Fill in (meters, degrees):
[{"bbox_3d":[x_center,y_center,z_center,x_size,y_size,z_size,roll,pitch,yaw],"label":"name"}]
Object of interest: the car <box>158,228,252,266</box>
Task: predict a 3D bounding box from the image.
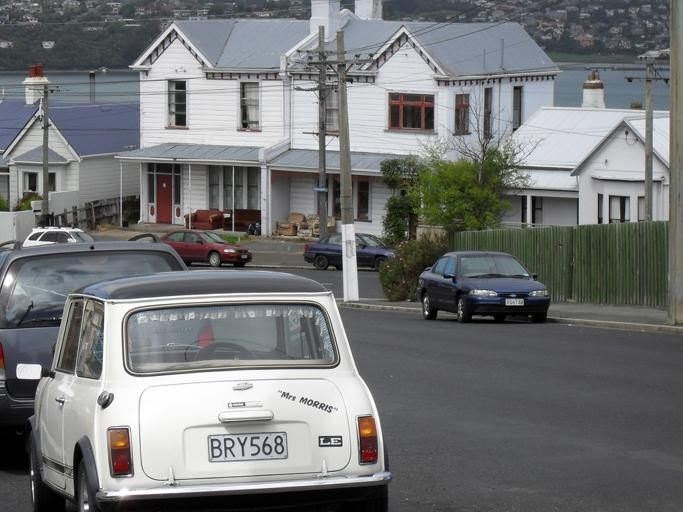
[{"bbox_3d":[-5.410,-0.263,44.755,3.726,1.318,1.562,3,4,42],"label":"car"}]
